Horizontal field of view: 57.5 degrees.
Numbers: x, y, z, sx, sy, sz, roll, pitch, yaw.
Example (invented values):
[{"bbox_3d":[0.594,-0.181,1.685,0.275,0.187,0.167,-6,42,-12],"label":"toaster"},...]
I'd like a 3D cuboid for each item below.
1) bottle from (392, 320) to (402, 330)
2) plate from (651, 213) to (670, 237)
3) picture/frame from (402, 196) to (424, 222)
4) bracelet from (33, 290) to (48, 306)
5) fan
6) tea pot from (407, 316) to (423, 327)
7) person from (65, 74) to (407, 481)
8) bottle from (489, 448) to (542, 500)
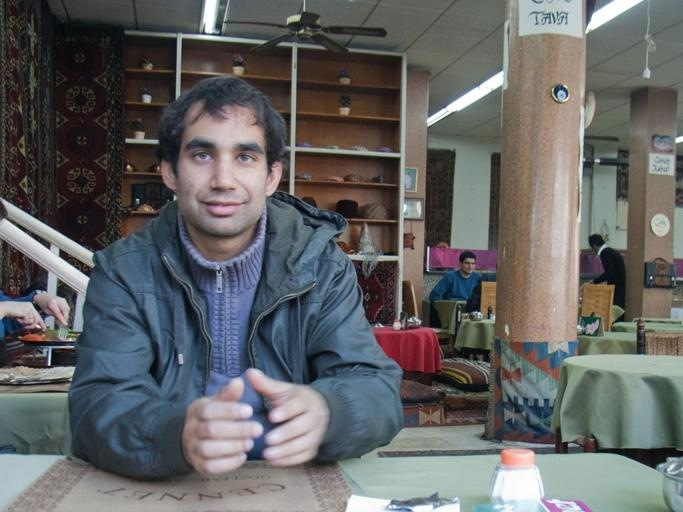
[{"bbox_3d":[0.471,0.582,5.251,0.064,0.060,0.064,3,-2,-5],"label":"bottle"},{"bbox_3d":[4.212,-0.399,8.174,0.287,0.287,0.065,-1,0,-16],"label":"plate"},{"bbox_3d":[0.948,-0.638,8.299,0.388,0.331,0.137,0,2,-10],"label":"picture/frame"},{"bbox_3d":[-1.493,0.210,3.063,0.056,0.079,0.077,7,26,-17],"label":"bracelet"},{"bbox_3d":[-0.344,-2.042,5.655,0.998,0.235,1.115,5,5,22],"label":"fan"},{"bbox_3d":[0.617,0.570,5.309,0.113,0.065,0.156,0,0,7],"label":"tea pot"},{"bbox_3d":[-0.326,0.089,1.756,0.865,1.063,1.130,-2,6,-20],"label":"person"},{"bbox_3d":[0.366,0.446,1.322,0.102,0.109,0.104,-5,-9,30],"label":"bottle"}]
